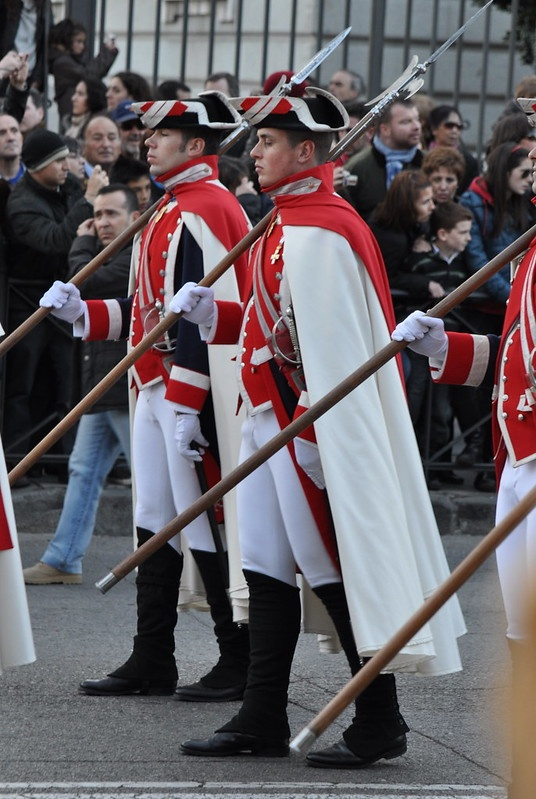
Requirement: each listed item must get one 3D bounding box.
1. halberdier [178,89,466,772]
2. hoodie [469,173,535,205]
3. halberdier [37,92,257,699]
[{"bbox_3d":[0.157,0.039,3.736,1.100,2.111,0.959,5,-12,-11],"label":"halberdier"},{"bbox_3d":[1.453,-1.294,7.399,0.336,0.127,0.240,-3,-11,30],"label":"hoodie"},{"bbox_3d":[-0.432,-0.016,4.306,0.880,2.189,0.756,3,-2,-20],"label":"halberdier"}]
